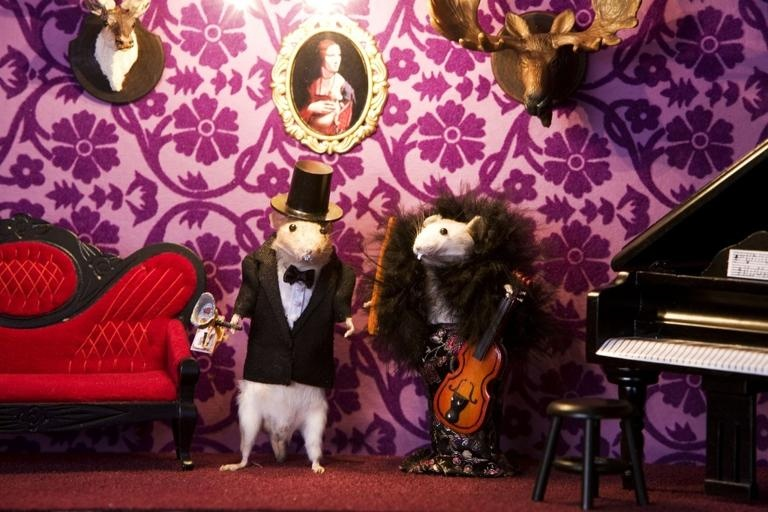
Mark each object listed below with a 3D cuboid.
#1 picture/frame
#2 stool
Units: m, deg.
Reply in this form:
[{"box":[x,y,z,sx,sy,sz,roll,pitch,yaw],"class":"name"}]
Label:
[{"box":[-0.337,-1.106,5.043,0.834,1.044,0.072,0,0,-2],"class":"picture/frame"},{"box":[1.112,1.022,4.222,0.557,0.656,0.557,3,-4,-34],"class":"stool"}]
